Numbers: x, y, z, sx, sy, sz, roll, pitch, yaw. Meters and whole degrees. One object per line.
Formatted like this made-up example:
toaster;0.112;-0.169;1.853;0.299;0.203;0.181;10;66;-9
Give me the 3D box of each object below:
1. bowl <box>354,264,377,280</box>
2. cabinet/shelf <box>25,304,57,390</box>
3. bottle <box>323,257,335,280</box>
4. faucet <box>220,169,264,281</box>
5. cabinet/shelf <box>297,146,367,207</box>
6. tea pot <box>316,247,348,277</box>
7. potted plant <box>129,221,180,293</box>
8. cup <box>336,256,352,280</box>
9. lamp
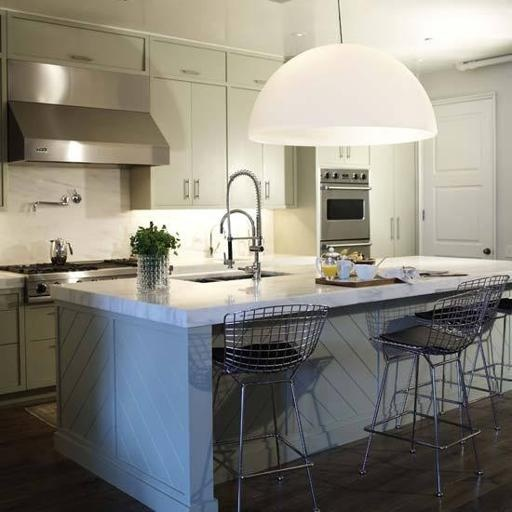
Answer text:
bowl;0.597;0.083;2.558;0.110;0.088;0.151;-1;-1;12
cabinet/shelf;-1.634;0.676;3.591;0.224;0.633;0.092;0;-1;-36
bottle;0.415;0.065;2.629;0.089;0.135;0.102;0;-3;-5
faucet;-0.076;-0.164;2.822;0.258;0.745;0.121;1;32;-4
cabinet/shelf;0.711;-0.900;5.379;0.506;0.693;0.329;-1;-1;10
tea pot;0.422;0.039;2.697;0.152;0.172;0.123;1;2;28
potted plant;-0.461;0.004;2.501;0.313;0.436;0.289;0;0;-40
cup;0.500;0.074;2.636;0.081;0.105;0.118;-1;-1;9
lamp;0.377;-0.676;2.113;0.787;0.403;0.708;-1;-1;27
